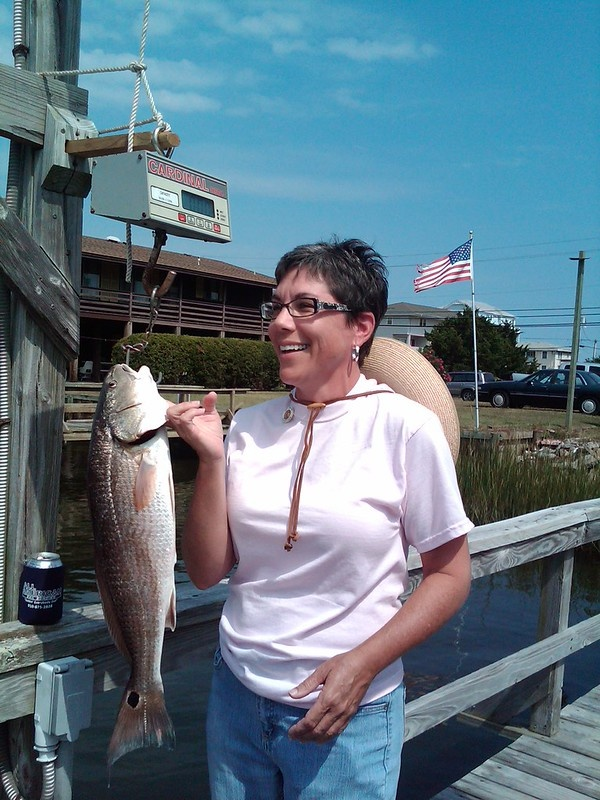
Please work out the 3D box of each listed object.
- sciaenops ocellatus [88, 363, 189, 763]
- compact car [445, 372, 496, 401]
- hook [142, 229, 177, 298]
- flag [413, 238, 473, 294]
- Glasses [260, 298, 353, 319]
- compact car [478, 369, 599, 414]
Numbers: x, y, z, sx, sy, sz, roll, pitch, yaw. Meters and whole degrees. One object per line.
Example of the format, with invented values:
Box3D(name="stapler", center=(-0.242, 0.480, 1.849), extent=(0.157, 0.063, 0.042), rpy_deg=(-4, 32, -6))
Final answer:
Box3D(name="sciaenops ocellatus", center=(-0.352, 0.345, 1.526), extent=(0.237, 0.721, 0.361), rpy_deg=(0, 4, -11))
Box3D(name="compact car", center=(6.445, -0.494, 27.009), extent=(2.558, 1.082, 1.407), rpy_deg=(4, 6, 19))
Box3D(name="hook", center=(-0.329, -0.321, 1.715), extent=(0.101, 0.167, 0.032), rpy_deg=(8, 1, 33))
Box3D(name="flag", center=(3.687, -3.469, 18.266), extent=(1.288, 1.029, 0.140), rpy_deg=(-5, 14, 11))
Box3D(name="Glasses", center=(0.037, -0.205, 1.642), extent=(0.108, 0.028, 0.110), rpy_deg=(-2, -4, 44))
Box3D(name="compact car", center=(8.847, -0.307, 25.975), extent=(4.372, 1.435, 1.744), rpy_deg=(0, 0, 38))
